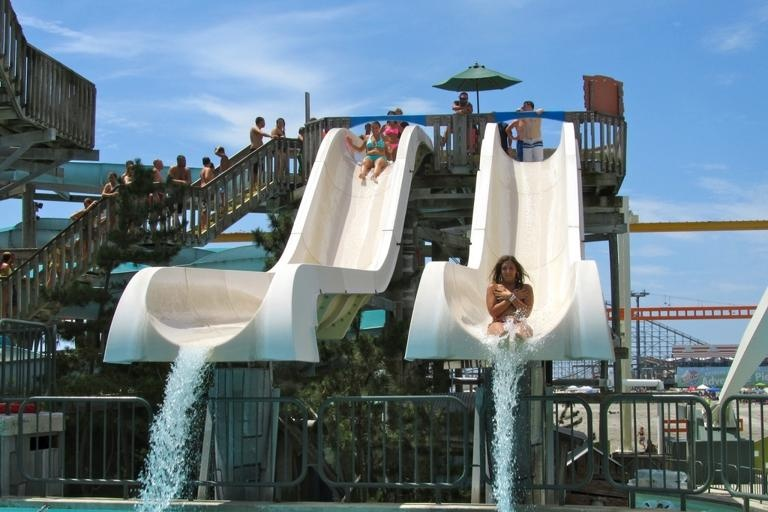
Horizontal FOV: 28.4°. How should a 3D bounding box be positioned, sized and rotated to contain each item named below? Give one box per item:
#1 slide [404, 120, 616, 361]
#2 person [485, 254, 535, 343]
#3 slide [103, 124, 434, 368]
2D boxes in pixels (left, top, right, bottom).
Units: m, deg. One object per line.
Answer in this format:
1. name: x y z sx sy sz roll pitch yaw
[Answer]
1. slide: 2.600 0.118 29.123 2.134 1.220 6.956 -1 30 11
2. person: 2.218 0.733 26.836 0.822 1.564 1.150 2 -8 3
3. slide: -1.036 -0.369 29.570 2.256 3.673 6.747 -12 2 32
